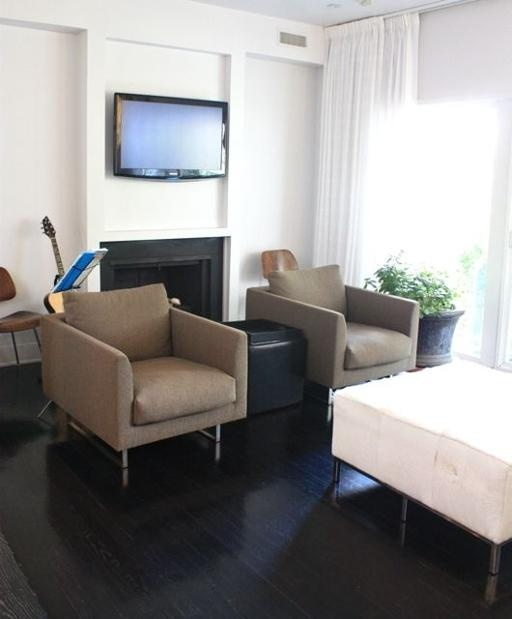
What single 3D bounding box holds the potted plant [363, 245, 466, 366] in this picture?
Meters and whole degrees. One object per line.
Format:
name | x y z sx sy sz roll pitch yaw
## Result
potted plant | 1.462 0.004 4.474 0.715 1.130 0.873 0 3 35
